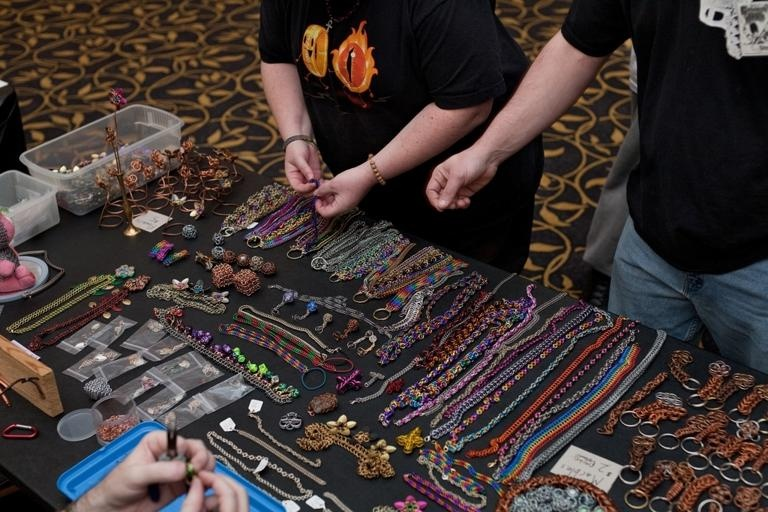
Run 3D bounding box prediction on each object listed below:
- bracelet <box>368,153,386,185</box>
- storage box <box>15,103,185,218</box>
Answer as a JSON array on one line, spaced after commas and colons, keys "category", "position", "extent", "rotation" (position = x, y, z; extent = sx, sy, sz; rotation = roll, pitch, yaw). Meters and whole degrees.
[{"category": "bracelet", "position": [-0.035, -0.418, 3.401], "extent": [0.066, 0.109, 0.117], "rotation": [-24, 70, -23]}, {"category": "storage box", "position": [-1.446, -0.581, 3.860], "extent": [0.556, 0.289, 0.846], "rotation": [29, 55, 33]}]
